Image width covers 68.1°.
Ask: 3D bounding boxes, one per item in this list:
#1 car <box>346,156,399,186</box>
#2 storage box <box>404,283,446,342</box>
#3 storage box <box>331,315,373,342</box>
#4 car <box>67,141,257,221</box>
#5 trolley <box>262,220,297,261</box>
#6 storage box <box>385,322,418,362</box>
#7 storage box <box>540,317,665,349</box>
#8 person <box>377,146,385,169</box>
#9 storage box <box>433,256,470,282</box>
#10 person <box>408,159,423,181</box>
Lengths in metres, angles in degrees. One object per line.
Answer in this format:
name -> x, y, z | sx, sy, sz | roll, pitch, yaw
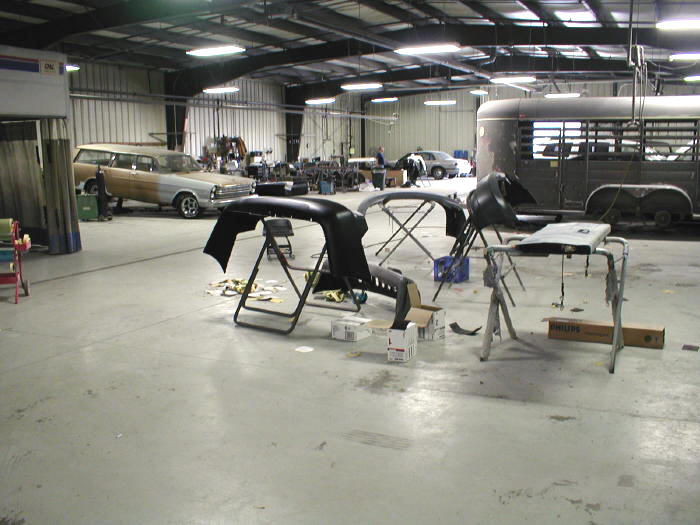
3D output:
car -> 1.161, -4.214, 24.416 | 2.508, 1.267, 4.065 | -1, 13, -5
storage box -> 0.797, 0.525, 5.482 | 0.338, 0.657, 0.614 | 4, 10, 36
storage box -> 0.044, 0.673, 5.508 | 0.351, 0.195, 0.513 | 11, 17, 41
car -> -5.707, -2.433, 15.371 | 5.220, 2.113, 1.077 | 2, 12, 11
trolley -> -1.274, -0.424, 9.283 | 0.446, 0.655, 0.543 | -3, 22, -6
storage box -> 0.500, 0.731, 4.964 | 0.259, 0.360, 0.473 | 1, 6, 19
storage box -> 2.538, 0.705, 5.136 | 1.044, 0.200, 0.176 | 4, 13, 17
person -> 1.360, -4.572, 22.572 | 0.364, 0.862, 0.888 | 0, 12, 2
storage box -> 1.469, 0.099, 7.576 | 0.397, 0.329, 0.425 | 1, 8, 16
person -> 3.115, -4.349, 24.617 | 0.511, 1.182, 1.004 | 10, 16, 42
